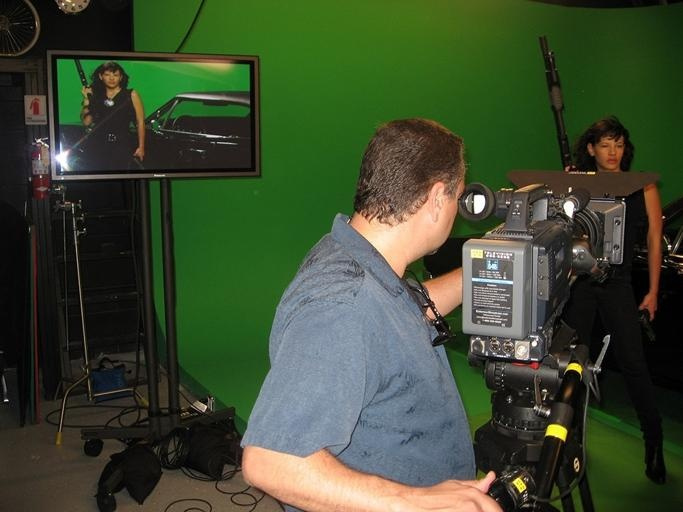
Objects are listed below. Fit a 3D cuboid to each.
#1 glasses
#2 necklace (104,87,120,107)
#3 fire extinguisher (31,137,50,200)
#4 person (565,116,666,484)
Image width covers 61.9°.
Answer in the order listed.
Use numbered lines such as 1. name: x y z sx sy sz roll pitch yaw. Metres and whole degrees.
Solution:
1. glasses: 0.296 0.197 1.777 0.065 0.207 0.202 -23 44 -16
2. necklace: -1.346 -0.927 3.326 0.068 0.098 0.042 5 1 0
3. fire extinguisher: -2.234 -0.653 4.205 0.114 0.432 0.205 0 1 -30
4. person: 1.756 0.227 3.501 0.721 2.170 0.731 1 1 -3
